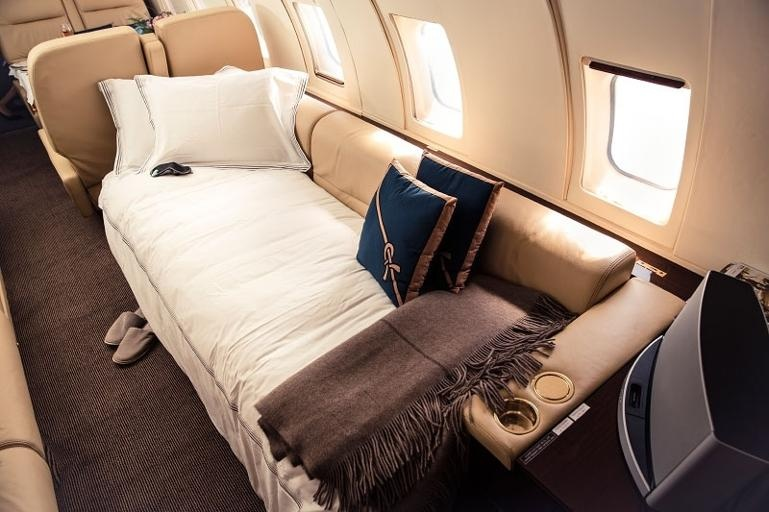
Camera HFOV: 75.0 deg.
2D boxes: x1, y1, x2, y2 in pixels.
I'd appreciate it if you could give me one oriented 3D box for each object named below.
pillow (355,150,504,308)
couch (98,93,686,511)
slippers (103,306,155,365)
[{"bbox_3d":[0.161,-0.111,2.232,0.395,0.555,0.513,-21,38,-39],"label":"pillow"},{"bbox_3d":[-0.149,0.391,2.724,1.666,1.118,3.058,-25,58,-36],"label":"couch"},{"bbox_3d":[-1.365,0.428,2.773,0.173,0.085,0.360,16,38,13],"label":"slippers"}]
